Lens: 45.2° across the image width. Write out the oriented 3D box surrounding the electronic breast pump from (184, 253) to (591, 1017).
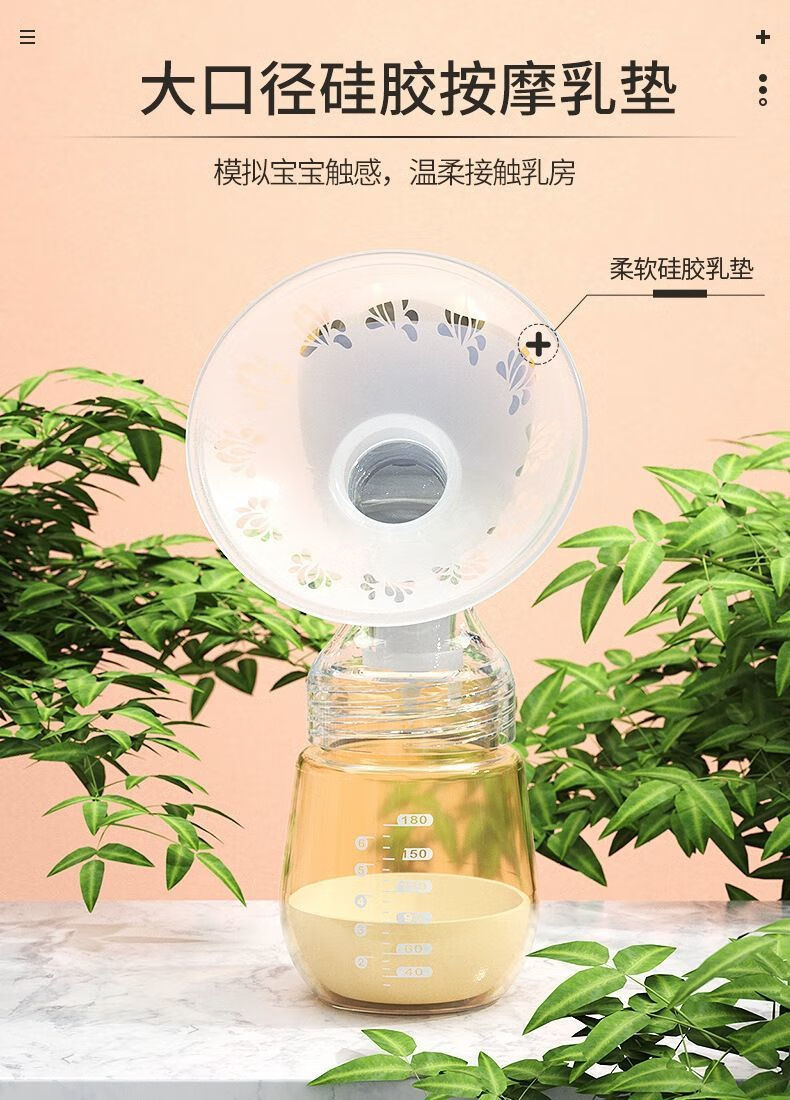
[{"bbox_3d":[0.004,0.058,0.518,0.197,0.406,0.155,-2,-10,3],"label":"electronic breast pump"}]
